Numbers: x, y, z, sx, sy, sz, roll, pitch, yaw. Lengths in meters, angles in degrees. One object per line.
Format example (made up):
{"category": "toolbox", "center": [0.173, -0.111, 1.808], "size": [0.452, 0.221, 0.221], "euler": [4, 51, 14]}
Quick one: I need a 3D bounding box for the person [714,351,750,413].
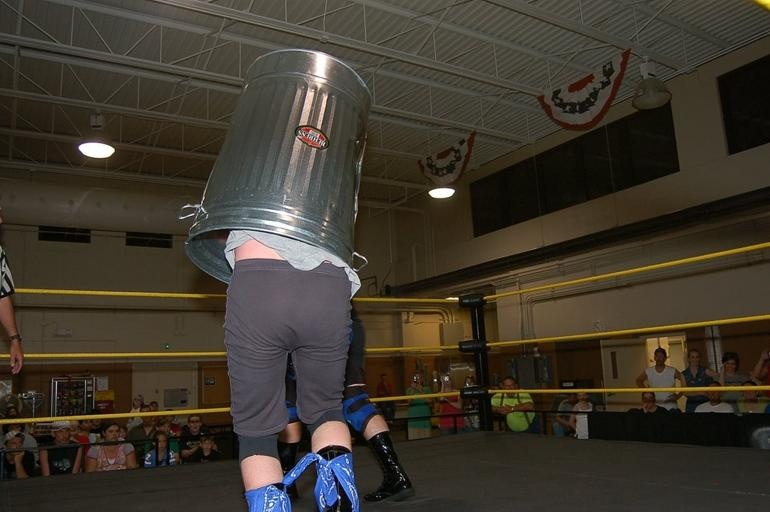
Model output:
{"category": "person", "center": [4.370, 1.749, 7.077], "size": [0.323, 0.992, 0.275], "euler": [2, -31, 22]}

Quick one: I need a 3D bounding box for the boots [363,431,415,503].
{"category": "boots", "center": [0.014, 1.217, 3.306], "size": [0.284, 0.393, 0.170], "euler": [-5, -6, 0]}

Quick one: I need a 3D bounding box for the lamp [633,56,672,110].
{"category": "lamp", "center": [3.767, -2.541, 8.057], "size": [0.461, 0.852, 0.532], "euler": [-7, -7, 23]}
